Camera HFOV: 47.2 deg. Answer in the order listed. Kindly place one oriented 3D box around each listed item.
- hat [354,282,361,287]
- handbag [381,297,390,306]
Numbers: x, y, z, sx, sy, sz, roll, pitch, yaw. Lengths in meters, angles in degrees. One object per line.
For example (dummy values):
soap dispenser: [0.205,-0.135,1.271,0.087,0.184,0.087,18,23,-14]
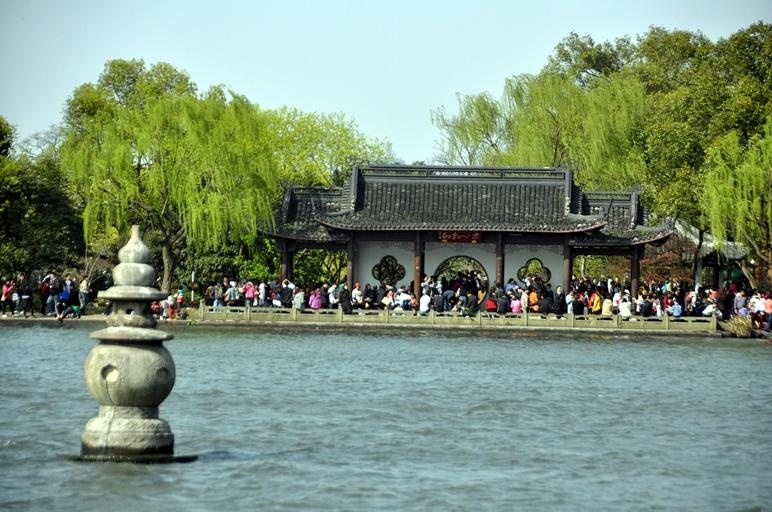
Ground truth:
hat: [-1.247,1.387,41.045,0.180,0.200,0.233,0,-14,-1]
handbag: [0.058,2.062,39.606,0.288,0.304,0.163,22,-14,19]
